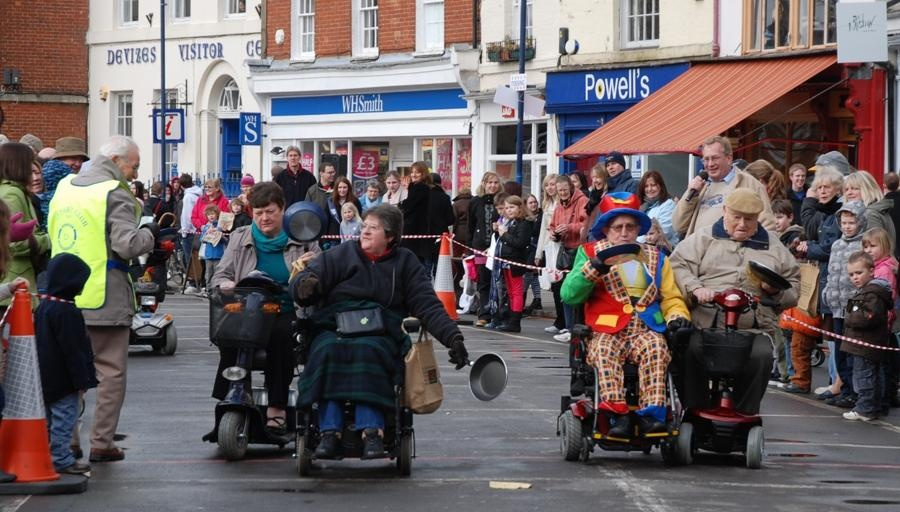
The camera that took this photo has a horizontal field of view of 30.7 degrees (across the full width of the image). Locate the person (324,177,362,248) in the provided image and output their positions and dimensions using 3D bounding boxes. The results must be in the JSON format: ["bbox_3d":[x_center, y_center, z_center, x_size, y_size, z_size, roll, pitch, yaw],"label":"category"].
[{"bbox_3d":[-2.030,-0.541,30.005,0.725,1.748,0.609,0,-11,8],"label":"person"}]

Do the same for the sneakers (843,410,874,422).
[{"bbox_3d":[5.804,2.287,23.385,0.451,0.179,0.157,8,-1,4],"label":"sneakers"}]

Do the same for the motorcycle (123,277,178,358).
[{"bbox_3d":[-5.177,1.033,27.661,0.971,1.125,1.910,0,0,-12],"label":"motorcycle"}]

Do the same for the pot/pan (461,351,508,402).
[{"bbox_3d":[0.467,1.527,20.672,0.427,0.596,0.338,1,10,-2],"label":"pot/pan"}]

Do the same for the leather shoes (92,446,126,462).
[{"bbox_3d":[-4.434,2.548,21.123,0.450,0.178,0.159,-3,5,-19],"label":"leather shoes"}]

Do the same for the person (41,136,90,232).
[{"bbox_3d":[-5.372,-0.925,22.444,0.547,1.442,0.518,19,27,20],"label":"person"}]

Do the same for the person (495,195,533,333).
[{"bbox_3d":[1.141,0.140,29.472,0.610,2.399,0.756,1,10,1],"label":"person"}]

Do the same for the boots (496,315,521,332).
[{"bbox_3d":[1.117,1.221,29.597,0.557,0.365,0.219,5,3,12],"label":"boots"}]

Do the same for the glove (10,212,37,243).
[{"bbox_3d":[-5.477,-0.349,20.867,0.375,0.202,0.115,-22,3,8],"label":"glove"}]

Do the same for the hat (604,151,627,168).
[{"bbox_3d":[2.690,-1.574,26.848,0.274,0.222,0.264,3,-27,22],"label":"hat"}]

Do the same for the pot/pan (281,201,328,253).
[{"bbox_3d":[-1.944,-0.362,21.467,0.826,0.759,0.261,3,4,-5],"label":"pot/pan"}]

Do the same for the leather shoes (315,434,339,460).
[{"bbox_3d":[-1.544,2.347,20.355,0.279,0.344,0.187,3,10,9],"label":"leather shoes"}]

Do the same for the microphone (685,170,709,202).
[{"bbox_3d":[3.436,-1.048,22.709,0.191,0.607,0.185,22,-29,21],"label":"microphone"}]

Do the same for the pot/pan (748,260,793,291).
[{"bbox_3d":[4.149,0.265,21.225,0.566,0.397,0.320,3,10,11],"label":"pot/pan"}]

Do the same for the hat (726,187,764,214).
[{"bbox_3d":[3.851,-0.709,21.457,0.492,0.321,0.291,3,10,9],"label":"hat"}]

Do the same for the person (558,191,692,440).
[{"bbox_3d":[2.269,0.773,21.055,1.484,2.947,0.997,2,10,7],"label":"person"}]

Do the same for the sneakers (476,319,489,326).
[{"bbox_3d":[0.581,1.228,30.183,0.115,0.136,0.303,3,-4,3],"label":"sneakers"}]

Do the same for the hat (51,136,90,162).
[{"bbox_3d":[-5.155,-1.450,22.188,0.437,0.211,0.383,2,-1,-24],"label":"hat"}]

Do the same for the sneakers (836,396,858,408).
[{"bbox_3d":[5.809,2.143,23.986,0.266,0.103,0.116,3,1,15],"label":"sneakers"}]

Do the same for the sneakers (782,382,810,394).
[{"bbox_3d":[5.261,1.985,24.808,0.351,0.140,0.155,7,-4,7],"label":"sneakers"}]

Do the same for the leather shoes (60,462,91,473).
[{"bbox_3d":[-4.695,2.630,20.428,0.350,0.143,0.132,-1,6,-5],"label":"leather shoes"}]

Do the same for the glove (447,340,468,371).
[{"bbox_3d":[0.089,1.250,20.584,0.119,0.347,0.277,-12,11,-14],"label":"glove"}]

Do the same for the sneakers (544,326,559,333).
[{"bbox_3d":[1.820,1.336,29.724,0.259,0.106,0.098,-1,-1,28],"label":"sneakers"}]

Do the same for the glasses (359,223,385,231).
[{"bbox_3d":[-0.992,-0.358,20.776,0.141,0.077,0.185,0,-4,37],"label":"glasses"}]

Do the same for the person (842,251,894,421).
[{"bbox_3d":[5.971,1.140,23.399,0.683,2.341,0.725,4,11,13],"label":"person"}]

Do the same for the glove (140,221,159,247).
[{"bbox_3d":[-3.914,-0.309,21.283,0.144,0.377,0.166,-5,-2,-19],"label":"glove"}]

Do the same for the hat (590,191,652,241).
[{"bbox_3d":[2.195,-0.570,21.420,0.846,0.425,0.719,-10,-14,14],"label":"hat"}]
